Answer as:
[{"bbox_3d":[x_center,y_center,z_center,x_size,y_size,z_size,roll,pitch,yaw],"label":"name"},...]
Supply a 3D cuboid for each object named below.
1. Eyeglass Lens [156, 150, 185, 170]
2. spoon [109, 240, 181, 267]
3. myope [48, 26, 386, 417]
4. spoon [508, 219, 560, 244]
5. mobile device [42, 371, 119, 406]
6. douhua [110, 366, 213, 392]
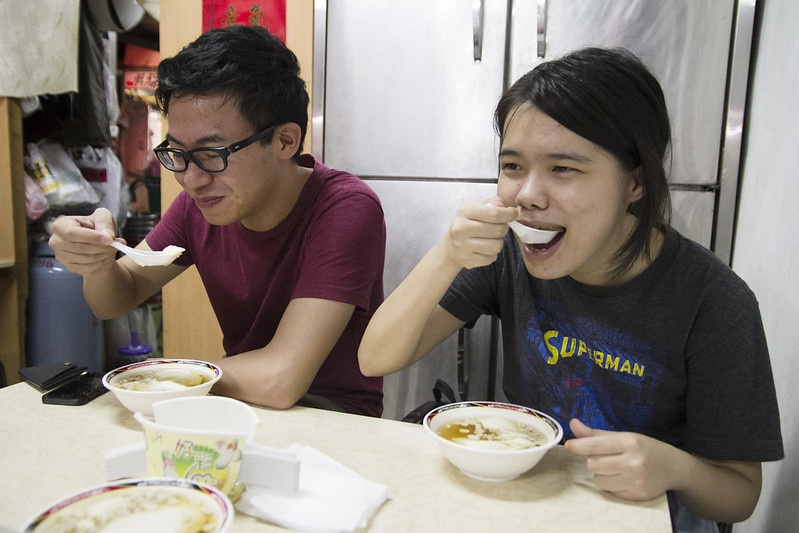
[{"bbox_3d":[-0.905,-0.424,2.292,0.111,0.037,0.115,24,32,31],"label":"Eyeglass Lens"},{"bbox_3d":[-1.049,-0.053,2.375,0.226,0.051,0.061,15,51,7],"label":"spoon"},{"bbox_3d":[-0.616,-0.163,2.462,1.247,2.191,0.975,6,7,43],"label":"myope"},{"bbox_3d":[0.451,-0.109,1.940,0.115,0.046,0.099,1,-6,31],"label":"spoon"},{"bbox_3d":[-1.112,0.409,2.020,0.184,0.079,0.192,8,8,16],"label":"mobile device"},{"bbox_3d":[-0.795,0.362,1.922,0.160,0.072,0.213,9,6,43],"label":"douhua"}]
